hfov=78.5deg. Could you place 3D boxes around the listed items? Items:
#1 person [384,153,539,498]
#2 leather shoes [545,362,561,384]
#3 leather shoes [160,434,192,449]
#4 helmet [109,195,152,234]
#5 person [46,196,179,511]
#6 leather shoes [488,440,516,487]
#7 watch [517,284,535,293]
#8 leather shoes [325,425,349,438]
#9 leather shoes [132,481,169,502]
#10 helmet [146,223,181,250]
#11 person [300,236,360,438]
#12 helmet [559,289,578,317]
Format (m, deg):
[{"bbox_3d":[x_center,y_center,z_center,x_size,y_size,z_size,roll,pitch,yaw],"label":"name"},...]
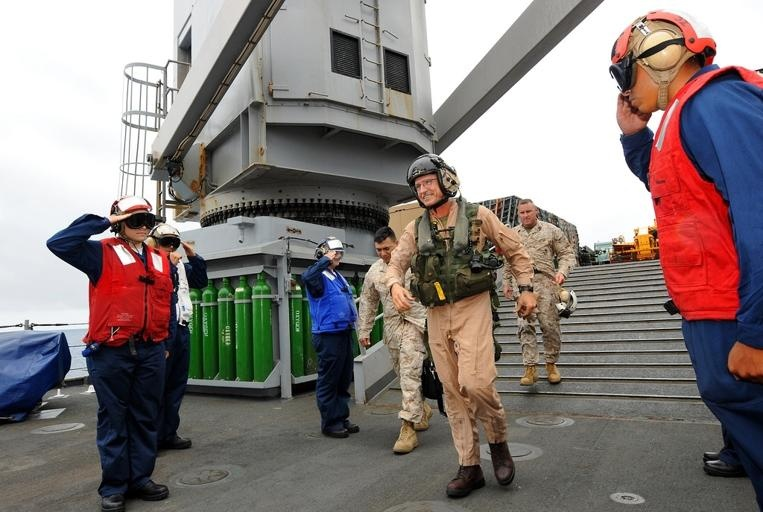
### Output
[{"bbox_3d":[0.728,0.526,4.282,1.318,2.419,0.636,-4,-2,2],"label":"person"},{"bbox_3d":[2.655,1.796,7.180,0.202,0.278,0.273,-5,-2,19],"label":"leather shoes"},{"bbox_3d":[-2.514,2.274,5.789,0.420,0.180,0.149,-1,-1,-4],"label":"leather shoes"},{"bbox_3d":[-2.532,-0.416,4.694,0.398,0.356,0.310,-5,2,19],"label":"helmet"},{"bbox_3d":[-2.478,0.861,4.470,0.918,2.892,0.548,-3,-2,-27],"label":"person"},{"bbox_3d":[1.048,1.758,4.129,0.157,0.190,0.476,-30,19,22],"label":"leather shoes"},{"bbox_3d":[1.299,0.298,4.192,0.088,0.065,0.097,-6,-21,14],"label":"watch"},{"bbox_3d":[-0.570,2.215,5.882,0.335,0.139,0.126,-5,-3,20],"label":"leather shoes"},{"bbox_3d":[-2.177,2.199,4.417,0.380,0.152,0.157,0,1,6],"label":"leather shoes"},{"bbox_3d":[-2.662,-0.231,5.684,0.423,0.400,0.412,4,-6,-42],"label":"helmet"},{"bbox_3d":[-0.667,1.027,6.255,0.635,2.550,0.747,-5,-2,23],"label":"person"},{"bbox_3d":[2.840,0.720,7.174,0.262,0.381,0.324,-5,-2,19],"label":"helmet"}]
